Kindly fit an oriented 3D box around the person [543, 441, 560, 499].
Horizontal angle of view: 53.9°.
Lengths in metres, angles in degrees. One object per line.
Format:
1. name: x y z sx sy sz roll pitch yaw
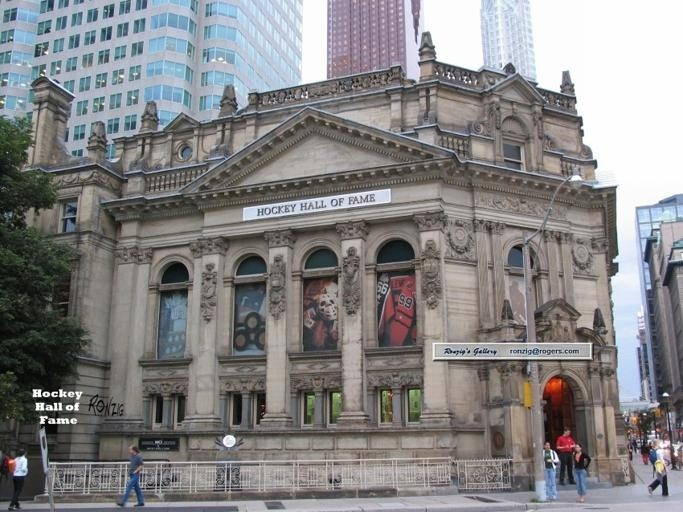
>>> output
1. person: 9.762 9.995 31.358 0.610 2.540 1.553 -5 -19 15
